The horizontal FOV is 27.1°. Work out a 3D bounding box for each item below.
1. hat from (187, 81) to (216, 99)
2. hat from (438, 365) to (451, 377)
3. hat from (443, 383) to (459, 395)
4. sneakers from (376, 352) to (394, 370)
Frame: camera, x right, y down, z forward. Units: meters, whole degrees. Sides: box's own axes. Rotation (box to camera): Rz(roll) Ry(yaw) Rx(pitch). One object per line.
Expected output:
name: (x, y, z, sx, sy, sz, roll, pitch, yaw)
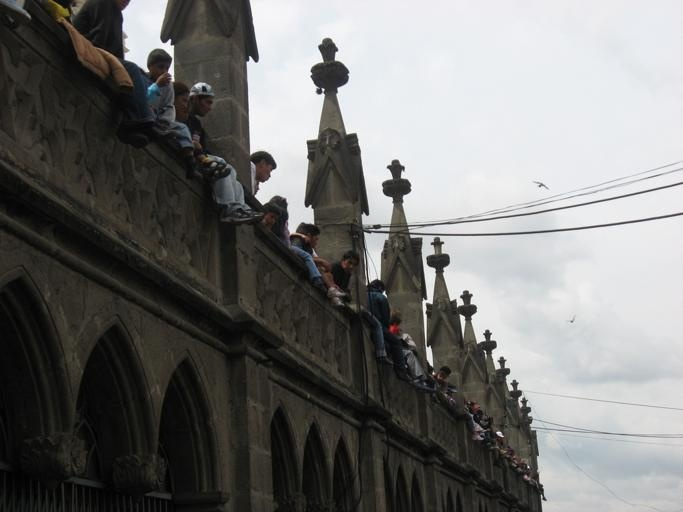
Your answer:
hat: (-1.719, -2.099, 17.547, 0.279, 0.186, 0.215, 12, 4, -3)
hat: (2.298, 2.592, 31.631, 0.209, 0.293, 0.280, 4, 2, 14)
hat: (2.587, 3.200, 33.713, 0.266, 0.208, 0.452, 11, -7, -7)
sneakers: (0.735, 1.829, 24.640, 0.154, 0.249, 0.522, -13, -16, 26)
